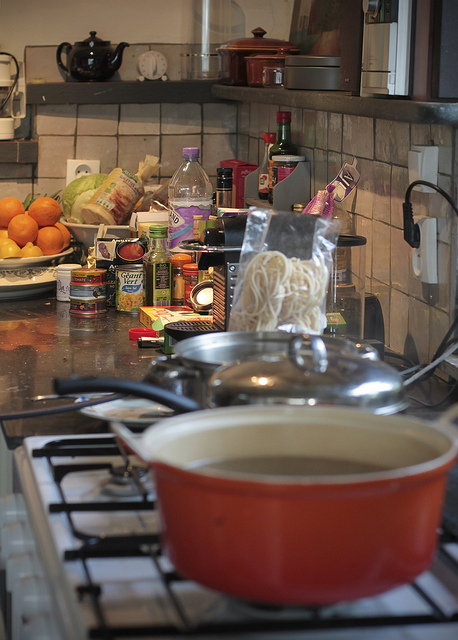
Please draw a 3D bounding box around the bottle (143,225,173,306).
[{"bbox_3d":[-0.213,-0.159,1.705,0.090,0.238,0.050,-2,4,0],"label":"bottle"}]

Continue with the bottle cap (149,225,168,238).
[{"bbox_3d":[-0.209,-0.260,1.680,0.044,0.028,0.042,0,6,-2],"label":"bottle cap"}]

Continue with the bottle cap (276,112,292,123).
[{"bbox_3d":[0.174,-0.640,1.793,0.040,0.024,0.039,2,9,5],"label":"bottle cap"}]

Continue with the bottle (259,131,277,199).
[{"bbox_3d":[0.131,-0.522,1.914,0.061,0.229,0.097,-2,4,-4],"label":"bottle"}]

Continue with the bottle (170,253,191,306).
[{"bbox_3d":[-0.148,-0.117,1.693,0.071,0.154,0.029,-1,4,7],"label":"bottle"}]

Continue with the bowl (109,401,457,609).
[{"bbox_3d":[0.032,0.104,0.316,0.194,0.098,0.113,-2,4,-6],"label":"bowl"}]

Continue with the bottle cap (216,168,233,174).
[{"bbox_3d":[-0.013,-0.524,2.003,0.049,0.023,0.041,-2,4,-10],"label":"bottle cap"}]

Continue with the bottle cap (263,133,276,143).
[{"bbox_3d":[0.142,-0.631,1.970,0.034,0.030,0.041,0,8,-3],"label":"bottle cap"}]

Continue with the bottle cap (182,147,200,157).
[{"bbox_3d":[-0.132,-0.563,1.914,0.061,0.033,0.059,0,10,-7],"label":"bottle cap"}]

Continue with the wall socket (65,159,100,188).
[{"bbox_3d":[-0.627,-0.638,2.435,0.144,0.109,0.063,-3,4,-15],"label":"wall socket"}]

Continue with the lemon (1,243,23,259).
[{"bbox_3d":[-0.729,-0.227,1.897,0.054,0.035,0.053,-2,12,-26],"label":"lemon"}]

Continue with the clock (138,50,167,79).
[{"bbox_3d":[-0.327,-1.077,2.392,0.139,0.130,0.054,-2,8,-14],"label":"clock"}]
